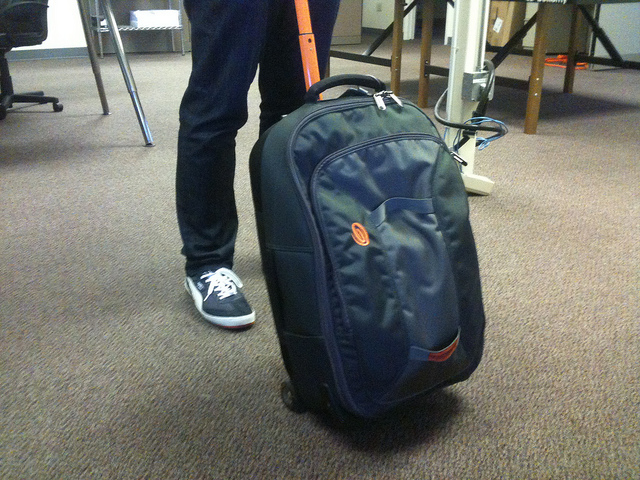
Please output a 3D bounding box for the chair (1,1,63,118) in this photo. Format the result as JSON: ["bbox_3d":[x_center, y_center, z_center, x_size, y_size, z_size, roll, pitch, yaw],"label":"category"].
[{"bbox_3d":[-1.704,-1.061,2.885,0.366,0.615,0.484,-14,31,-22],"label":"chair"}]

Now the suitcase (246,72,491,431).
[{"bbox_3d":[0.094,0.011,0.869,0.378,0.535,0.328,-9,29,-14],"label":"suitcase"}]

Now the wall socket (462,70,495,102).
[{"bbox_3d":[0.528,-0.523,1.663,0.106,0.098,0.059,-7,13,-34],"label":"wall socket"}]
